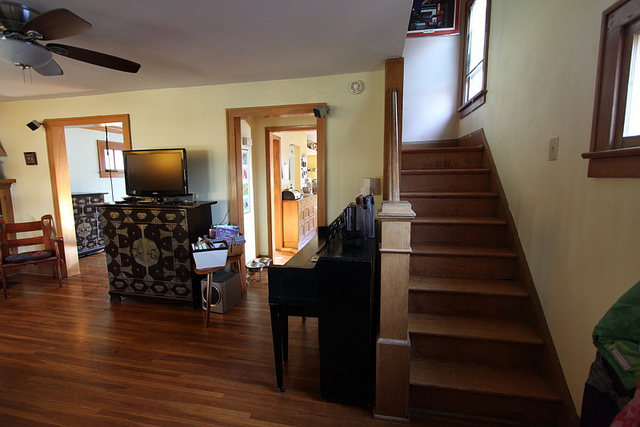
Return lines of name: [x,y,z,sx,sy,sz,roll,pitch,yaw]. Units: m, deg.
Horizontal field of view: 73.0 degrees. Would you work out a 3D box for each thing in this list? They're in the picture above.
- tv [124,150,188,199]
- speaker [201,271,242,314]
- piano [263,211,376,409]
tv: [-2.179,-0.515,5.704,0.929,0.641,0.090,1,9,15]
speaker: [-1.282,0.993,5.589,0.338,0.379,0.458,3,10,17]
piano: [0.042,0.955,4.404,0.993,1.701,0.784,-1,9,9]
